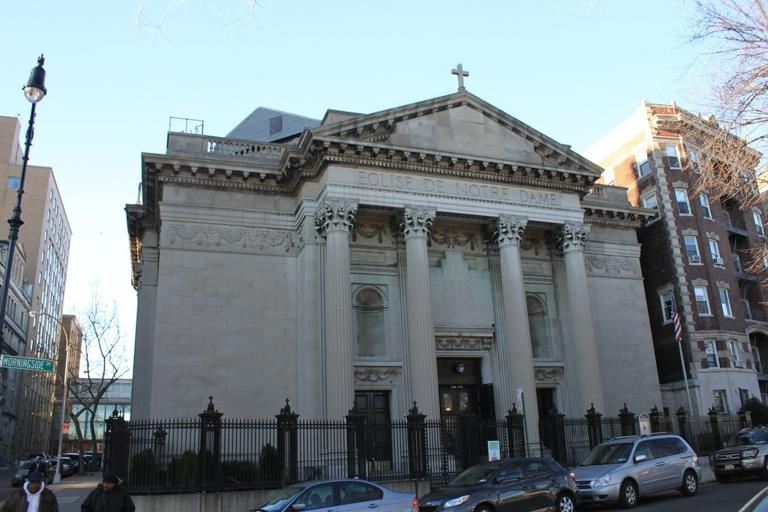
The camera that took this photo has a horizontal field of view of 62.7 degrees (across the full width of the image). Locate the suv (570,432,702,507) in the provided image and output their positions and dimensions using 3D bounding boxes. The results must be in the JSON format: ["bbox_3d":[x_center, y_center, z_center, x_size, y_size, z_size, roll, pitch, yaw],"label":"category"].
[{"bbox_3d":[9.977,8.600,25.478,5.475,2.592,1.463,3,-17,-22],"label":"suv"}]
